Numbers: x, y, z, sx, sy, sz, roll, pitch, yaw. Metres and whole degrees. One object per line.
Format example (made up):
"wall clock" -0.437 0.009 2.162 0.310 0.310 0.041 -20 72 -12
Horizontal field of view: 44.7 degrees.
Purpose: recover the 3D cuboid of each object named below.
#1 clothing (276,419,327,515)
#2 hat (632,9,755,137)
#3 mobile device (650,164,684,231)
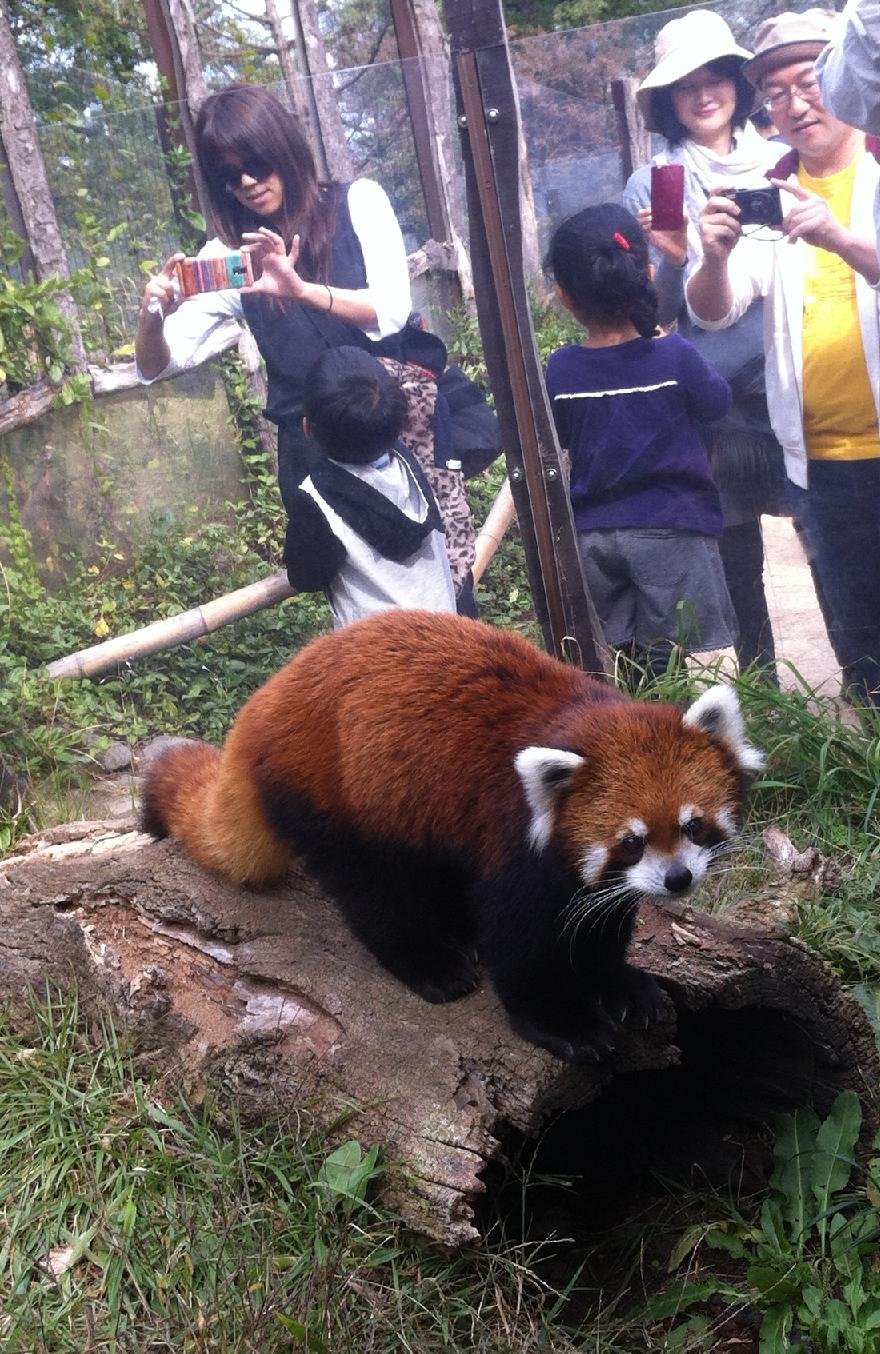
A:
"clothing" -0.488 -0.762 3.788 0.183 0.274 0.074 1 12 29
"hat" 0.754 -1.820 3.230 0.331 0.341 0.127 -8 24 16
"mobile device" 0.706 -1.498 3.343 0.115 0.198 0.033 -10 24 11
